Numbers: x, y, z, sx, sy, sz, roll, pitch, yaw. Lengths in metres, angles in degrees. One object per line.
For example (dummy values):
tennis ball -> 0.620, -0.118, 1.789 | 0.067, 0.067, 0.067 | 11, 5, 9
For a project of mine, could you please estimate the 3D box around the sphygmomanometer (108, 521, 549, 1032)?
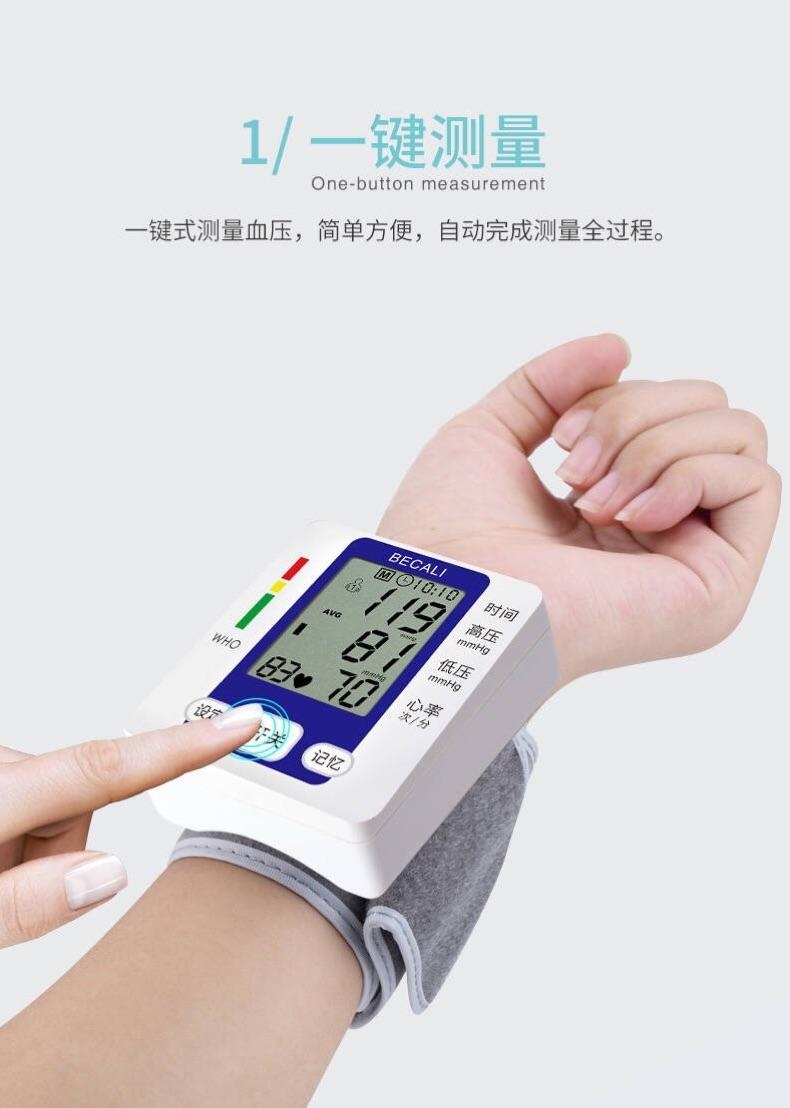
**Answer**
sphygmomanometer -> 0.028, 0.250, 1.211 | 0.559, 0.519, 0.184 | 28, -22, 33
